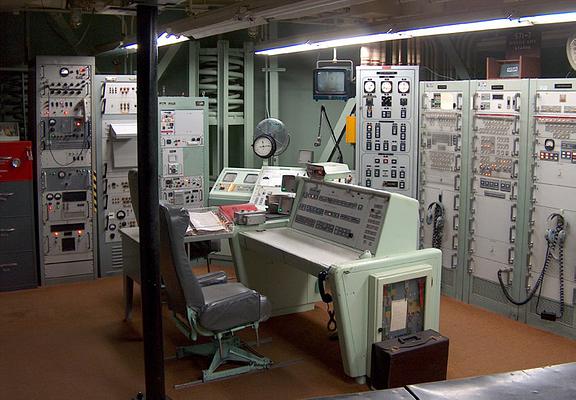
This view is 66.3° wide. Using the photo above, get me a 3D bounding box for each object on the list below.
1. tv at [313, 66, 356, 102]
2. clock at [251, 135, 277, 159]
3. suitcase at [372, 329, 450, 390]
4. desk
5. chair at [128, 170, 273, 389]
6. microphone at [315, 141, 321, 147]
[{"bbox_3d":[0.698,-1.809,6.928,0.706,0.508,0.513,0,6,8],"label":"tv"},{"bbox_3d":[-0.392,-0.914,7.531,0.395,0.382,0.189,-2,8,-2],"label":"clock"},{"bbox_3d":[1.199,1.592,4.354,0.742,0.472,0.310,-4,9,-19],"label":"suitcase"},{"bbox_3d":[-1.439,0.802,5.701,1.066,1.345,1.412,2,5,45],"label":"desk"},{"bbox_3d":[-0.872,0.735,4.586,1.224,2.095,0.793,-5,9,-22],"label":"chair"},{"bbox_3d":[0.492,-0.933,7.386,0.070,0.065,0.228,-16,4,14],"label":"microphone"}]
